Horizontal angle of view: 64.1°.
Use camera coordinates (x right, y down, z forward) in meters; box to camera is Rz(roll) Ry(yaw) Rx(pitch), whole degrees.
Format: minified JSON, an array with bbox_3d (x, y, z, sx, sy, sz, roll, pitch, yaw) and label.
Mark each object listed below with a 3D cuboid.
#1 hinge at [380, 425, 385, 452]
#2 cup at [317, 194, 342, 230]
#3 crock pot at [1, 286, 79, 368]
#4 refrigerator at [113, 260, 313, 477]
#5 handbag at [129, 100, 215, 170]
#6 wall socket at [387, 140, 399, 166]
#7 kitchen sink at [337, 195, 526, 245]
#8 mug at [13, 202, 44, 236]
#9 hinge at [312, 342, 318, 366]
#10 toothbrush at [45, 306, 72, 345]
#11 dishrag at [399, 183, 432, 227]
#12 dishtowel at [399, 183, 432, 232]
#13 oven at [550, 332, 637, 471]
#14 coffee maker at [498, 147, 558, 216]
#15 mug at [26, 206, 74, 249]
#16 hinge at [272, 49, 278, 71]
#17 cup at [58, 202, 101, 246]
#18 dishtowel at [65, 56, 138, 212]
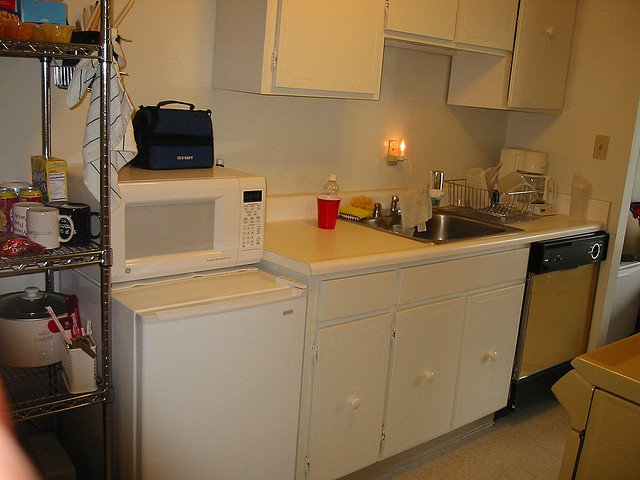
[{"bbox_3d":[0.284,0.902,2.342,0.014,0.101,0.016,5,8,0],"label":"hinge"},{"bbox_3d":[0.038,-0.143,2.568,0.141,0.167,0.142,4,16,-1],"label":"cup"},{"bbox_3d":[-0.989,0.307,1.866,0.237,0.242,0.256,4,7,-1],"label":"crock pot"},{"bbox_3d":[-0.402,0.457,1.822,0.590,0.937,0.467,-10,19,-38],"label":"refrigerator"},{"bbox_3d":[-0.618,-0.378,2.143,0.341,0.322,0.265,-12,23,-40],"label":"handbag"},{"bbox_3d":[0.434,-0.516,3.032,0.072,0.151,0.023,-7,14,-31],"label":"wall socket"},{"bbox_3d":[0.743,-0.074,2.886,0.461,0.244,0.560,-9,16,-35],"label":"kitchen sink"},{"bbox_3d":[-0.969,-0.074,1.702,0.062,0.096,0.104,11,8,18],"label":"mug"},{"bbox_3d":[-0.020,0.457,2.044,0.021,0.087,0.012,-2,12,-12],"label":"hinge"},{"bbox_3d":[-0.900,0.302,1.757,0.030,0.134,0.039,-23,9,1],"label":"toothbrush"},{"bbox_3d":[0.517,-0.158,2.752,0.062,0.234,0.221,-2,-8,-30],"label":"dishrag"},{"bbox_3d":[0.520,-0.164,2.782,0.056,0.335,0.263,-13,10,-39],"label":"dishtowel"},{"bbox_3d":[0.805,0.478,1.435,0.265,0.347,0.216,-10,16,-41],"label":"oven"},{"bbox_3d":[1.385,-0.392,3.363,0.268,0.407,0.366,-6,14,-26],"label":"coffee maker"},{"bbox_3d":[-0.874,-0.041,1.642,0.099,0.152,0.142,8,11,23],"label":"mug"},{"bbox_3d":[-0.188,-0.747,2.113,0.018,0.082,0.015,3,11,11],"label":"hinge"},{"bbox_3d":[-0.865,-0.051,1.792,0.116,0.179,0.169,12,13,33],"label":"cup"},{"bbox_3d":[-0.717,-0.370,1.679,0.203,0.546,0.153,6,19,-13],"label":"dishtowel"}]
